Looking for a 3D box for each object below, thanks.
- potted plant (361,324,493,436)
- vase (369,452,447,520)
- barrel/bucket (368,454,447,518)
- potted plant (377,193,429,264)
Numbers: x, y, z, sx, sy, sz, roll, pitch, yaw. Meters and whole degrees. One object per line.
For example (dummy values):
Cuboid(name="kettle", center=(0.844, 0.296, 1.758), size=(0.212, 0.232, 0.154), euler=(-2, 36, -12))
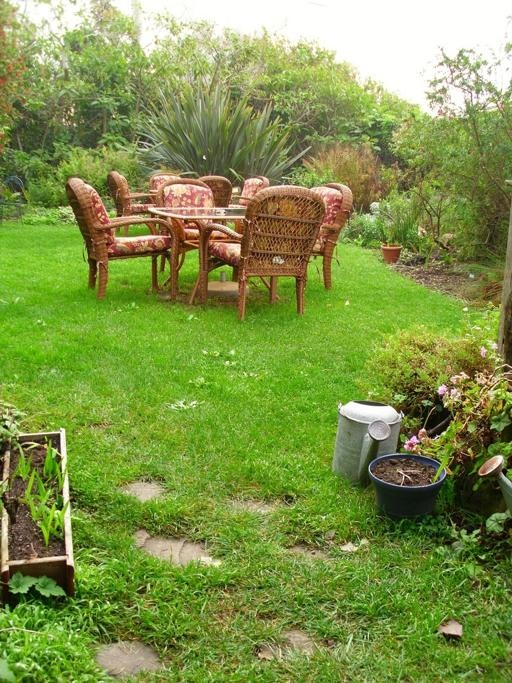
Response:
Cuboid(name="potted plant", center=(0.813, 0.111, 2.792), size=(0.526, 0.490, 0.485), euler=(-7, 48, 6))
Cuboid(name="vase", center=(0.566, 0.546, 2.172), size=(0.291, 0.154, 0.280), euler=(8, 7, -24))
Cuboid(name="barrel/bucket", center=(0.573, 0.553, 2.179), size=(0.282, 0.156, 0.287), euler=(-2, 14, 0))
Cuboid(name="potted plant", center=(2.250, -1.887, 9.637), size=(0.832, 1.107, 0.802), euler=(-3, 17, -22))
